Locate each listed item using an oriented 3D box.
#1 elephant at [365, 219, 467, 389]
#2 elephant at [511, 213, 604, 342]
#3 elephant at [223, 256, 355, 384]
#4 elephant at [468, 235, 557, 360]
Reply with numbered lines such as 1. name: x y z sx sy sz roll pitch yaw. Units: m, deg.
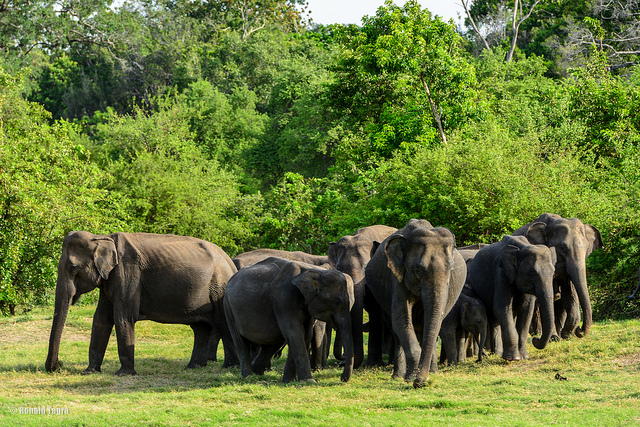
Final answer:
1. elephant: 2.534 2.392 23.923 2.211 4.473 1.934 -1 -11 13
2. elephant: 7.315 2.114 27.971 2.568 3.843 5.258 -1 -4 -6
3. elephant: -0.957 3.021 24.605 4.024 3.379 1.871 -1 -2 25
4. elephant: 5.678 2.459 26.067 1.945 3.328 4.442 3 -4 -13
